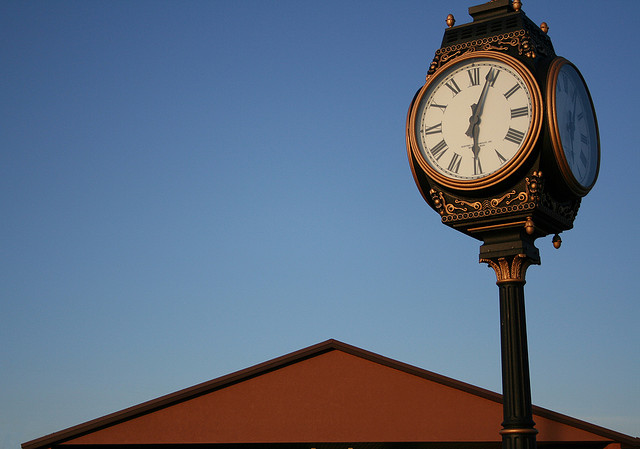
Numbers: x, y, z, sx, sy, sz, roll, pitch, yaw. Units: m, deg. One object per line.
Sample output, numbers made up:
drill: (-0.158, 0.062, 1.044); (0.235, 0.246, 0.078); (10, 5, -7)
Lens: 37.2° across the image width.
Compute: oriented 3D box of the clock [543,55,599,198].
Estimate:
clock: (3.172, -1.194, 12.328); (0.273, 1.893, 2.102); (-11, -11, 27)

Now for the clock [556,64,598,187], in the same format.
clock: (3.310, -1.225, 12.474); (0.145, 1.663, 1.713); (-10, -22, 29)

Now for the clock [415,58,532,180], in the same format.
clock: (2.031, -1.378, 12.544); (1.740, 1.723, 0.176); (-6, -11, 33)
